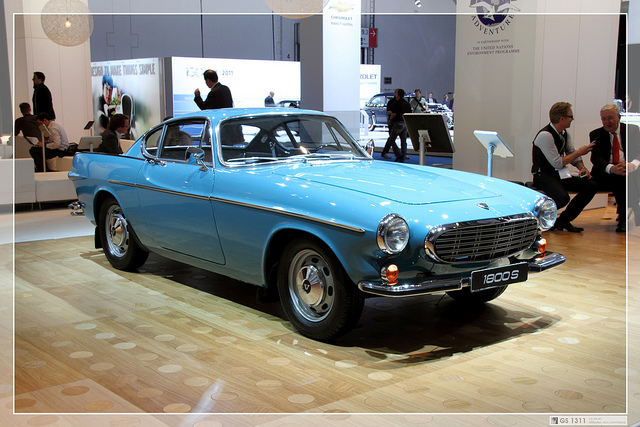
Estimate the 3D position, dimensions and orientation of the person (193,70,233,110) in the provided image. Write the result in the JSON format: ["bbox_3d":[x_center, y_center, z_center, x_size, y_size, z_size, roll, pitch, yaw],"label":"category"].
[{"bbox_3d":[-2.009,-2.353,8.181,0.440,0.728,0.513,-10,14,-42],"label":"person"}]

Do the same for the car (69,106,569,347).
[{"bbox_3d":[-0.521,-0.162,4.525,5.285,1.861,1.728,8,13,36],"label":"car"}]

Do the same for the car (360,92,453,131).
[{"bbox_3d":[3.551,-3.679,16.310,4.653,1.562,1.829,2,11,19],"label":"car"}]

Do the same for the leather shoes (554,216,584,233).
[{"bbox_3d":[3.872,0.189,6.781,0.594,0.263,0.199,0,10,15],"label":"leather shoes"}]
